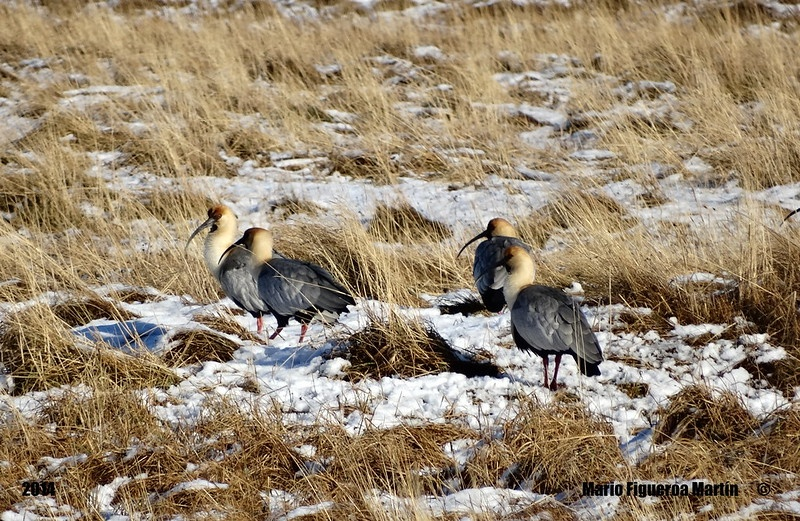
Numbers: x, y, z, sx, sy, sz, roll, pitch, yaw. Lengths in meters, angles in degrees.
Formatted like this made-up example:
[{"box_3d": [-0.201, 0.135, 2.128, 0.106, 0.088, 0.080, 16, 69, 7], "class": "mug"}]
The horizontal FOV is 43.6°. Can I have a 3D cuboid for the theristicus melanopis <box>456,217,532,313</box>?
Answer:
[{"box_3d": [1.205, -0.042, 12.741, 0.983, 0.964, 1.036, 8, 39, 5], "class": "theristicus melanopis"}]
